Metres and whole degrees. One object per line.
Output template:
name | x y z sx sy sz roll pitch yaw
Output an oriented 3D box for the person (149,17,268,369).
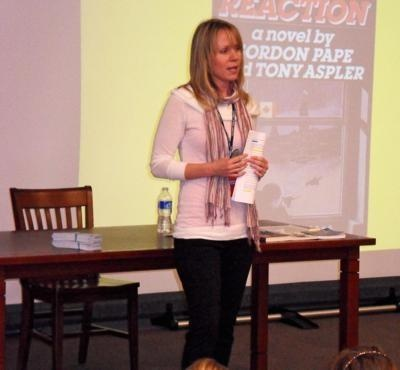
person | 0.064 0.051 1.510 0.414 1.244 0.277 -4 6 -33
